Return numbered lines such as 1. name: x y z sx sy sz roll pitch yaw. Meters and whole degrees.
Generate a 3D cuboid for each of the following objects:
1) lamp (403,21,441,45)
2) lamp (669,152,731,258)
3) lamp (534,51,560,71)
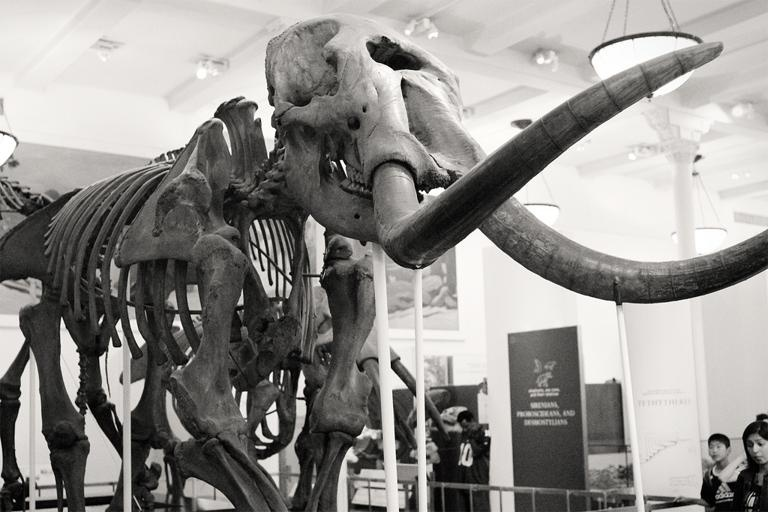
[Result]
1. lamp: 0.515 -3.271 9.817 0.351 0.136 0.460 6 -2 -4
2. lamp: 6.001 -0.944 13.069 1.008 2.035 1.017 4 30 40
3. lamp: 2.621 -3.177 10.933 0.315 0.195 0.432 1 -13 11
